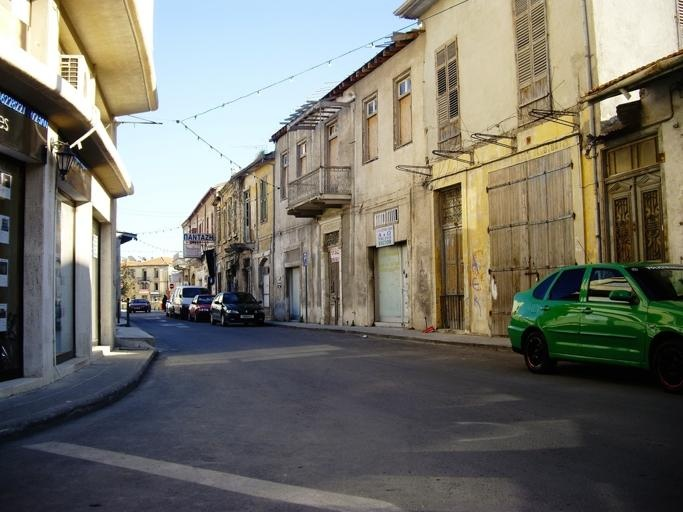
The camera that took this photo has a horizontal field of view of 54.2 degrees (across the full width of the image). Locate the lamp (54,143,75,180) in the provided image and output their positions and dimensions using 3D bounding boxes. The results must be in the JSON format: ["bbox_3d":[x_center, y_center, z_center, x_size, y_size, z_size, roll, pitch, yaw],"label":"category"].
[{"bbox_3d":[-5.102,-1.756,12.270,0.343,0.674,0.328,12,8,37],"label":"lamp"}]
